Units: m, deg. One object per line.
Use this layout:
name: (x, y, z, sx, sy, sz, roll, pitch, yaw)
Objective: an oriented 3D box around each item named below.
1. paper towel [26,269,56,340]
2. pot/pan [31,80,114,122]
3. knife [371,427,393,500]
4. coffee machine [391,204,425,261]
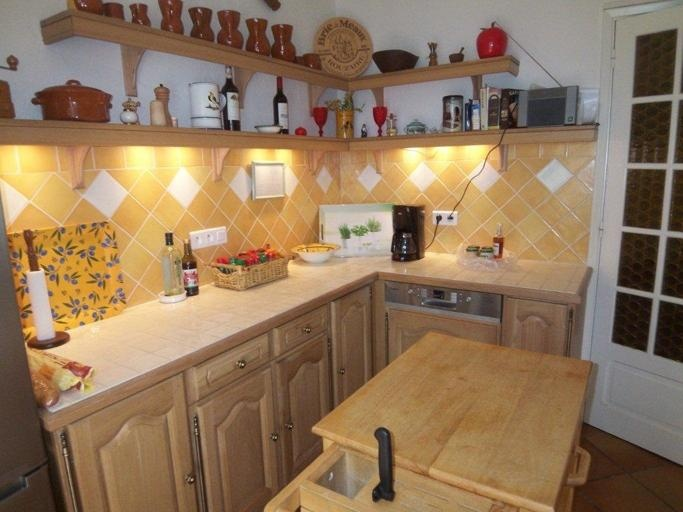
paper towel: (-1.294, 0.207, 2.125, 0.078, 0.287, 0.123, -3, 16, -44)
pot/pan: (-1.153, -0.653, 2.124, 0.303, 0.157, 0.142, -8, 12, -30)
knife: (0.127, 0.607, 1.503, 0.069, 0.254, 0.152, -1, 11, 6)
coffee machine: (0.468, -0.164, 3.484, 0.230, 0.392, 0.167, -1, 11, 3)
